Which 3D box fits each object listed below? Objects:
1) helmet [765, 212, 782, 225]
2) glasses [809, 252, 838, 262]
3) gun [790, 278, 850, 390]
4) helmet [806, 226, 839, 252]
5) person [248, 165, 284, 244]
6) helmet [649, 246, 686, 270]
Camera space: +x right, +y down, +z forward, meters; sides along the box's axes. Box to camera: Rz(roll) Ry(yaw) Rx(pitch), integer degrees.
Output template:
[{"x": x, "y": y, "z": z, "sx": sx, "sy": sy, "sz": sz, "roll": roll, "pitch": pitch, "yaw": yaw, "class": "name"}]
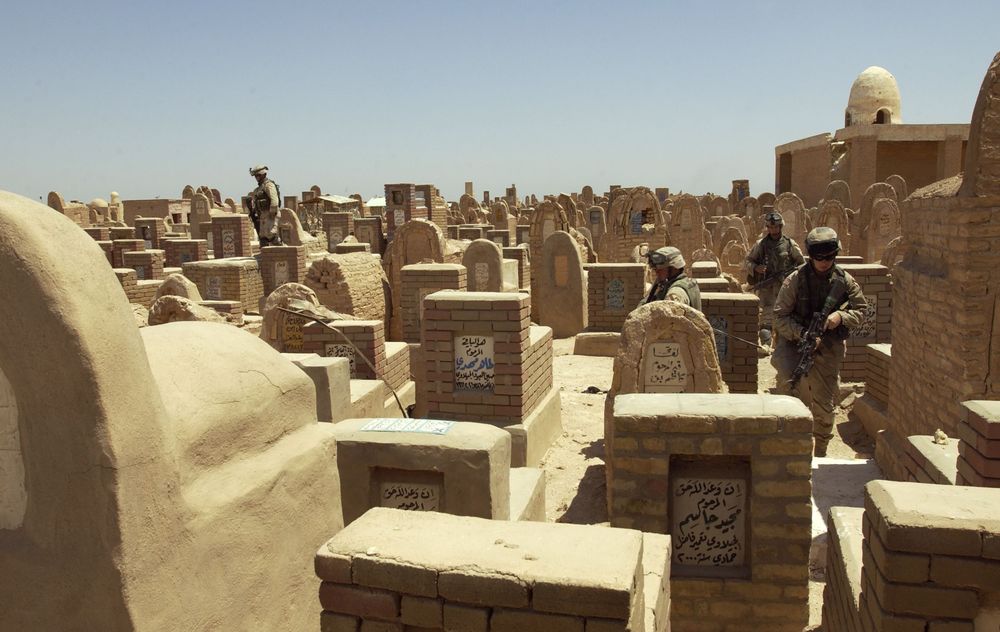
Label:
[{"x": 3.902, "y": -1.384, "z": 11.693, "sx": 0.188, "sy": 0.213, "sz": 0.236, "roll": -4, "pitch": -1, "yaw": 9, "class": "helmet"}, {"x": 3.289, "y": -0.603, "z": 8.409, "sx": 0.232, "sy": 0.099, "sz": 0.170, "roll": 3, "pitch": 12, "yaw": 19, "class": "glasses"}, {"x": 3.311, "y": 0.132, "z": 8.557, "sx": 0.513, "sy": 1.184, "sz": 0.308, "roll": 2, "pitch": 13, "yaw": 15, "class": "gun"}, {"x": 3.301, "y": -0.795, "z": 8.456, "sx": 0.266, "sy": 0.234, "sz": 0.313, "roll": 1, "pitch": -8, "yaw": 20, "class": "helmet"}, {"x": -5.687, "y": -2.652, "z": 20.004, "sx": 0.620, "sy": 1.889, "sz": 0.762, "roll": -5, "pitch": 13, "yaw": -16, "class": "person"}, {"x": 1.810, "y": -0.640, "z": 9.030, "sx": 0.340, "sy": 0.185, "sz": 0.246, "roll": 1, "pitch": -3, "yaw": 5, "class": "helmet"}]
